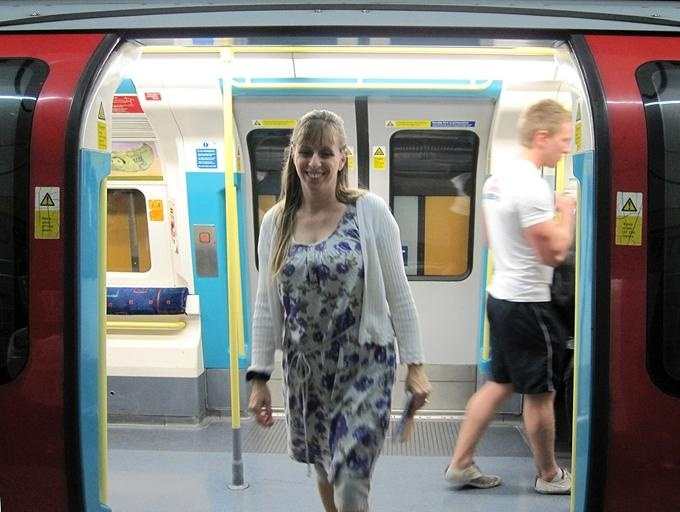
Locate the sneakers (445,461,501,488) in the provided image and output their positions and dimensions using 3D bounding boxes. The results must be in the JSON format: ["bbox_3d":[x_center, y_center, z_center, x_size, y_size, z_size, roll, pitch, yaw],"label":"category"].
[{"bbox_3d":[0.903,1.538,4.784,0.446,0.209,0.158,-1,2,-7],"label":"sneakers"}]

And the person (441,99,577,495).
[{"bbox_3d":[1.146,0.330,4.473,0.734,2.640,0.436,2,8,19],"label":"person"}]

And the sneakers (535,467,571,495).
[{"bbox_3d":[1.442,1.524,4.706,0.288,0.133,0.116,-1,1,-5],"label":"sneakers"}]
